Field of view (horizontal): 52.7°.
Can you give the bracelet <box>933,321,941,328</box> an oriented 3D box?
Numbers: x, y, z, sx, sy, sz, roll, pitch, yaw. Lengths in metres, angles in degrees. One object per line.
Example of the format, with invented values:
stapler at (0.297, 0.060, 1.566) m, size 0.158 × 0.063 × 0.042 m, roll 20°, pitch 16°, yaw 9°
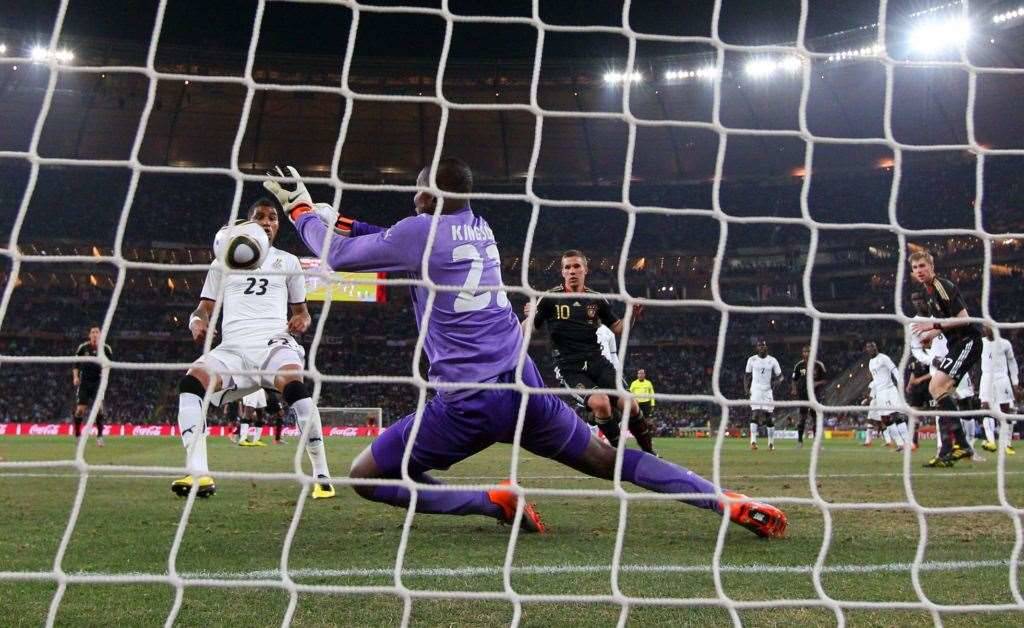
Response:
bracelet at (7.963, 0.169, 19.391) m, size 0.097 × 0.103 × 0.281 m, roll -6°, pitch 12°, yaw 15°
